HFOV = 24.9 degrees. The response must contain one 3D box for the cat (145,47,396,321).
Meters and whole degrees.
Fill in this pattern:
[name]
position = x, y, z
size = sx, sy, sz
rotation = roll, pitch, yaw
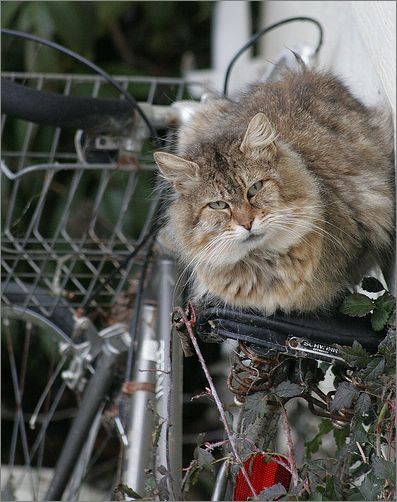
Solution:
[cat]
position = 0.230, -0.132, 2.245
size = 0.499, 0.635, 0.423
rotation = -1, -35, 18
